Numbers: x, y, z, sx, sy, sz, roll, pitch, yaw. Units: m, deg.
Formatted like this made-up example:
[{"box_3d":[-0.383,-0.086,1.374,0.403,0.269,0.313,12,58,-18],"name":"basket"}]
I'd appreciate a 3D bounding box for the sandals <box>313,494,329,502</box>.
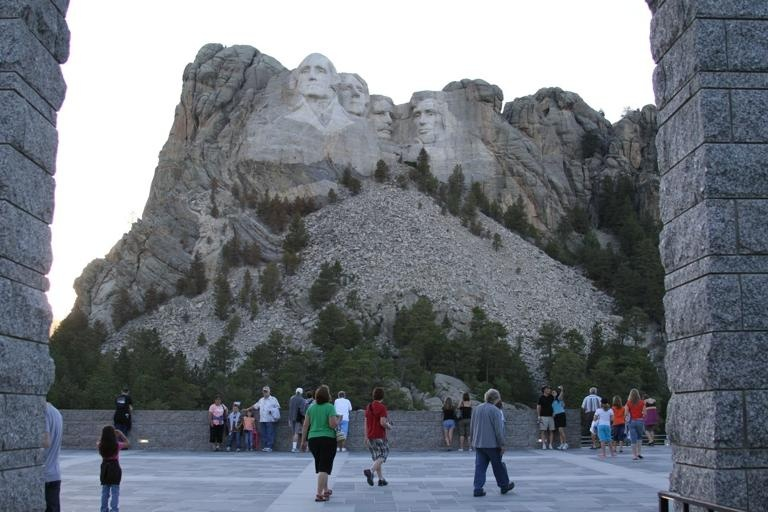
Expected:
[{"box_3d":[-2.077,8.116,41.386,0.416,0.150,0.207,-4,1,-3],"name":"sandals"}]
